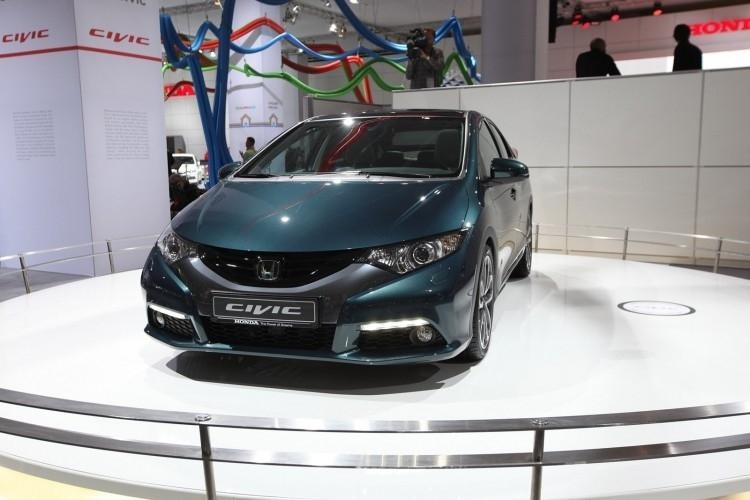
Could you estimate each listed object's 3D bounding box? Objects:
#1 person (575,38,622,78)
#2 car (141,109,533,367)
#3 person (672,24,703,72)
[{"bbox_3d":[3.300,-2.809,7.408,0.501,0.577,0.760,-1,14,-2],"label":"person"},{"bbox_3d":[0.083,-0.339,3.945,1.617,1.087,2.715,0,4,15],"label":"car"},{"bbox_3d":[4.367,-2.825,7.103,0.372,0.661,0.910,7,16,28],"label":"person"}]
